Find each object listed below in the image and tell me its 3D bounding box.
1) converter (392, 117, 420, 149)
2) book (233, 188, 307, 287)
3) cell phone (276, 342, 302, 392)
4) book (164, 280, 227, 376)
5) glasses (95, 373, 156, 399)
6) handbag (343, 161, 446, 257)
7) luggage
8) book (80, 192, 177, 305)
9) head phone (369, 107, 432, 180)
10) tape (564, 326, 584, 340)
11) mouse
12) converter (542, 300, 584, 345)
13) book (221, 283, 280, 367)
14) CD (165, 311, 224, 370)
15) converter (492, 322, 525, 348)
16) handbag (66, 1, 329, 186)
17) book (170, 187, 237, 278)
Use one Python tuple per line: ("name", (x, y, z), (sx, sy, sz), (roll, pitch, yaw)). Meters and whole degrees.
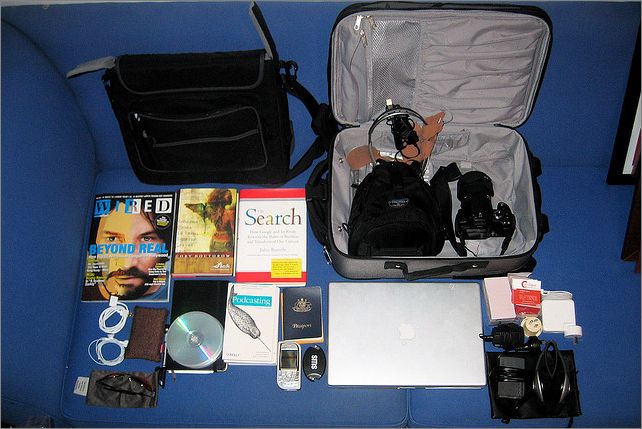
("converter", (0.484, -0.461, 3.139), (0.138, 0.186, 0.067), (-17, 19, 25))
("book", (-0.278, 0.129, 3.240), (0.423, 0.545, 0.126), (1, -15, 1))
("cell phone", (-0.178, 0.854, 3.059), (0.139, 0.266, 0.119), (-4, 17, -4))
("book", (-0.699, 0.610, 3.059), (0.342, 0.463, 0.122), (2, -19, 3))
("glasses", (-1.092, 0.957, 3.067), (0.424, 0.114, 0.114), (6, 37, 3))
("handbag", (0.385, 0.003, 2.892), (0.420, 0.543, 0.192), (-2, 2, 3))
("luggage", (0.585, -0.379, 3.267), (1.337, 1.531, 1.190), (2, 48, -5))
("book", (-1.136, 0.229, 3.240), (0.679, 0.836, 0.062), (-1, -18, -1))
("head phone", (0.457, -0.416, 3.157), (0.333, 0.429, 0.167), (-7, 17, 11))
("tape", (1.412, 0.670, 3.055), (0.084, 0.051, 0.084), (3, -15, -6))
("mouse", (1.221, 0.851, 2.960), (0.221, 0.405, 0.207), (-1, -17, 9))
("converter", (1.341, 0.607, 3.085), (0.228, 0.241, 0.087), (-1, -10, 7))
("book", (-0.398, 0.624, 3.097), (0.310, 0.407, 0.229), (-2, 17, 2))
("CD", (-0.700, 0.707, 3.067), (0.299, 0.298, 0.069), (34, -9, 12))
("converter", (1.021, 0.672, 3.035), (0.159, 0.128, 0.120), (-4, 17, -2))
("handbag", (-0.635, -0.637, 3.117), (1.290, 1.037, 0.397), (-1, 17, 5))
("book", (-0.672, 0.091, 3.284), (0.400, 0.544, 0.053), (-2, -11, 12))
